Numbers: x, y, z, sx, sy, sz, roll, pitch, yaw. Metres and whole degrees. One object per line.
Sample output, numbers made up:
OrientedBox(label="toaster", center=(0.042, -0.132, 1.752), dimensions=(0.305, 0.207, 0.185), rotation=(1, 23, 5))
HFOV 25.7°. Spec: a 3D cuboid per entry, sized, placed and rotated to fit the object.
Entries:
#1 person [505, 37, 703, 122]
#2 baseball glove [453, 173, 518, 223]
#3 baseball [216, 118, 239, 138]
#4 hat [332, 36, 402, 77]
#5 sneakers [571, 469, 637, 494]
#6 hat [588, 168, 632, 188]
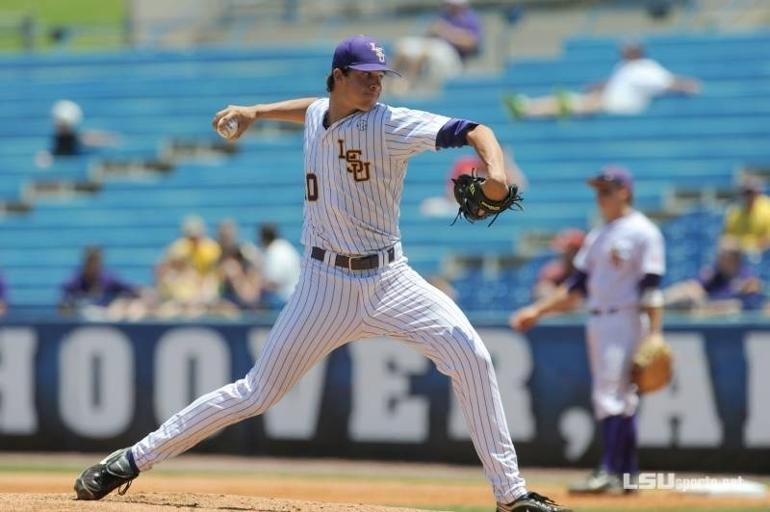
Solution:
OrientedBox(label="person", center=(2.062, -1.738, 16.410), dimensions=(1.228, 0.439, 0.747), rotation=(-5, 15, 13))
OrientedBox(label="baseball glove", center=(0.777, -0.449, 13.196), dimensions=(0.499, 0.396, 0.353), rotation=(-1, -7, -5))
OrientedBox(label="baseball", center=(-1.279, -1.018, 13.711), dimensions=(0.123, 0.152, 0.143), rotation=(9, -6, -17))
OrientedBox(label="hat", center=(-0.151, -1.579, 13.436), dimensions=(0.454, 0.290, 0.586), rotation=(-1, 8, -40))
OrientedBox(label="sneakers", center=(1.921, 1.996, 14.953), dimensions=(0.657, 0.238, 0.213), rotation=(1, -5, 2))
OrientedBox(label="hat", center=(1.974, -0.675, 14.900), dimensions=(0.290, 0.130, 0.196), rotation=(11, 0, 4))
